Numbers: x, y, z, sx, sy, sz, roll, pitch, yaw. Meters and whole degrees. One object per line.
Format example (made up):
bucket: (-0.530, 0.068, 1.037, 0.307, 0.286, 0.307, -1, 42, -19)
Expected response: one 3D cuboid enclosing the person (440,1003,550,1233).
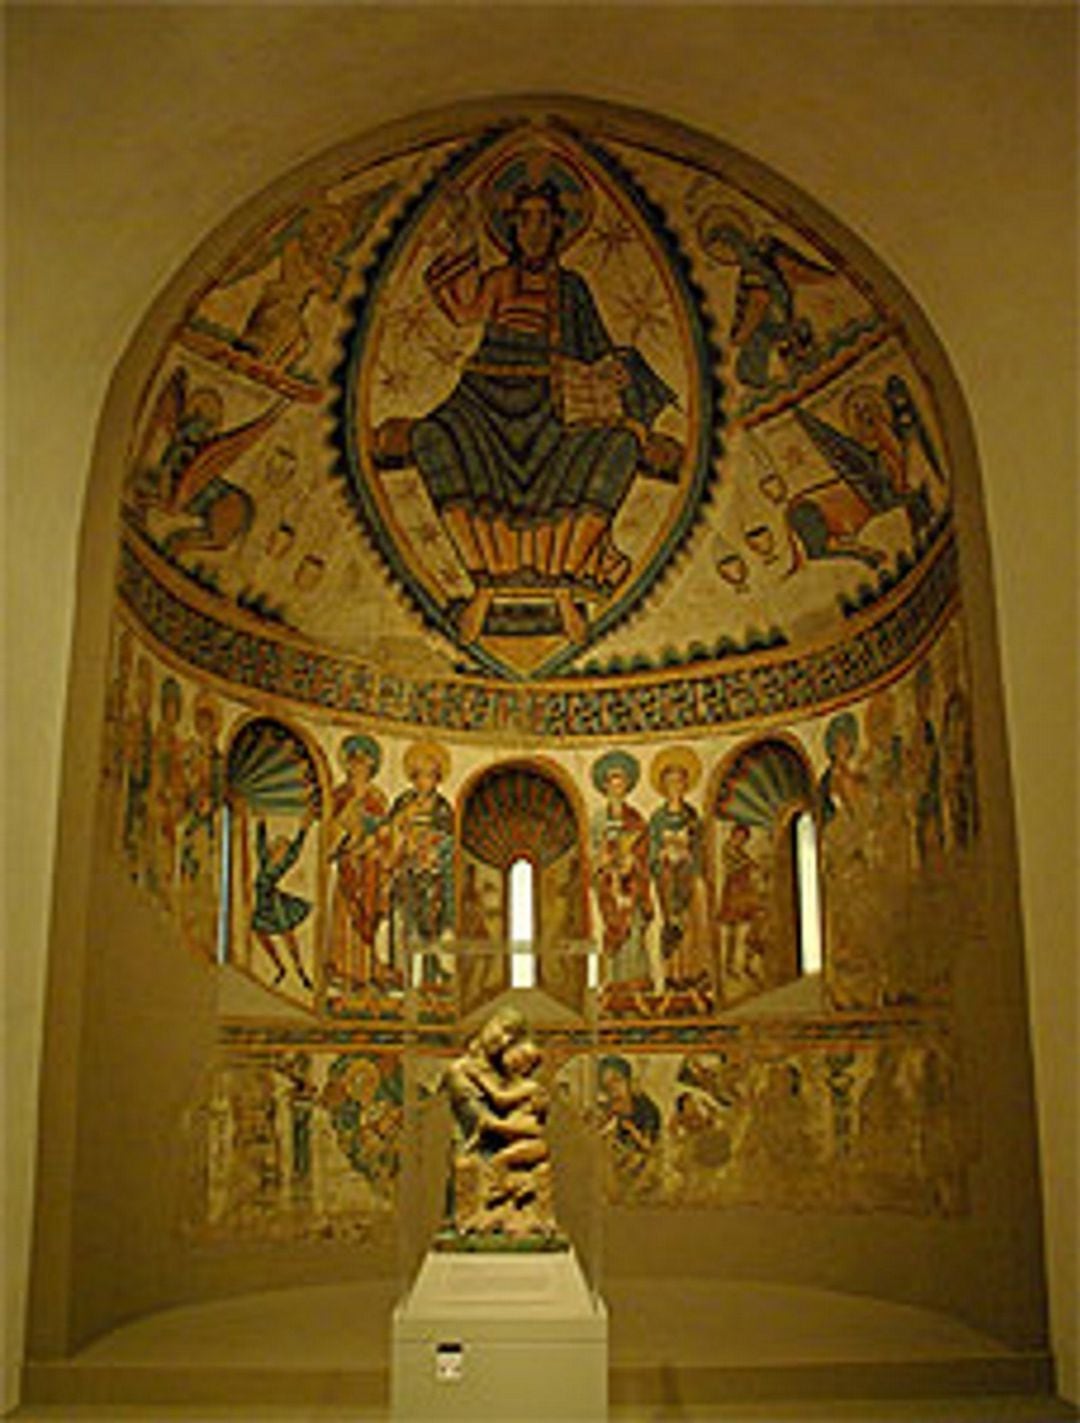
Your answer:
person: (-0.179, 1.712, 6.219, 0.447, 0.791, 0.716, 0, -3, -4)
